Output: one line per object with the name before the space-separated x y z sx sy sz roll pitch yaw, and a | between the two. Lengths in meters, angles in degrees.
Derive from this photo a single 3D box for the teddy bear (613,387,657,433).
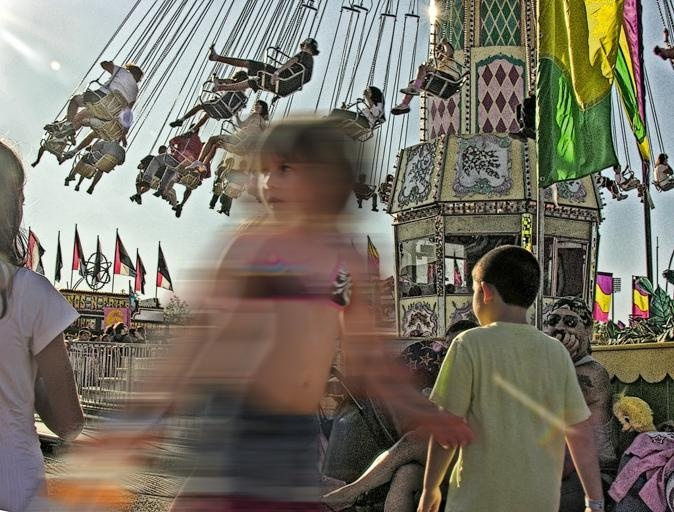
teddy bear | 2.526 1.344 4.696 0.261 0.327 0.374 21 -17 -41
